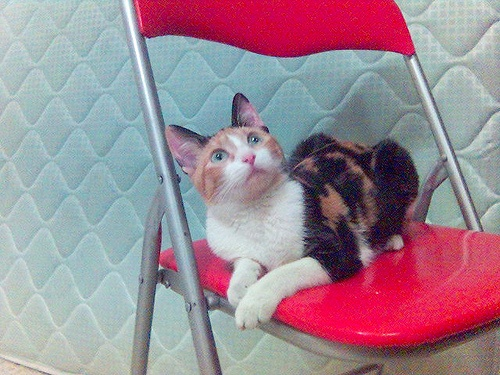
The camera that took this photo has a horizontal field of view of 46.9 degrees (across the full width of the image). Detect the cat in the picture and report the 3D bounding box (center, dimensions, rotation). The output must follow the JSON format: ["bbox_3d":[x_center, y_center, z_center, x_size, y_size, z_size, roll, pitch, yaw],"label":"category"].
[{"bbox_3d":[0.089,0.023,1.311,0.588,0.371,0.336,-28,-8,-47],"label":"cat"}]
